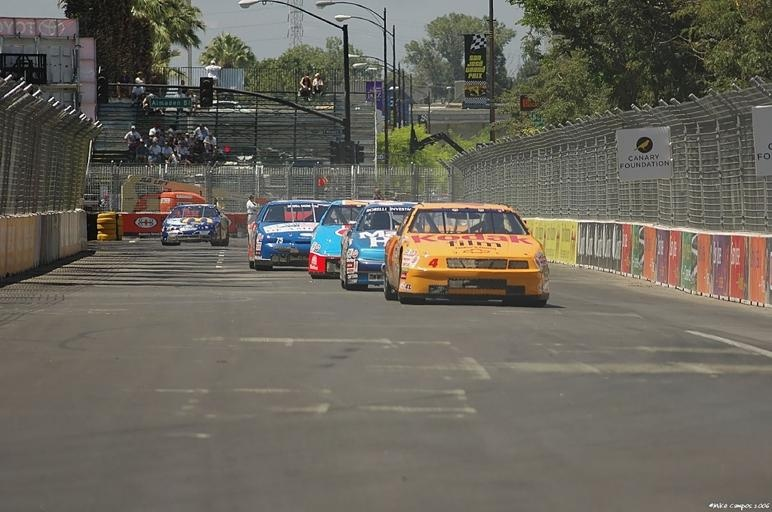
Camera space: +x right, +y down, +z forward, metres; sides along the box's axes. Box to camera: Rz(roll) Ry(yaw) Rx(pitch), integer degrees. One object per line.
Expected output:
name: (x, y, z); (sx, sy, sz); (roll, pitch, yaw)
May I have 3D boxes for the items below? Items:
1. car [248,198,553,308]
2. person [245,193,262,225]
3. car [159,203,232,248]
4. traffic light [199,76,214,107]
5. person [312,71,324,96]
car: (1.428, -0.009, 14.316); (2.843, 1.808, 2.003); (1, 5, 11)
person: (-6.535, -2.420, 39.676); (0.673, 0.882, 2.136); (-8, -35, -9)
car: (-8.638, -1.346, 36.136); (1.909, 1.366, 3.528); (0, 5, -5)
traffic light: (-9.322, -8.534, 41.700); (0.629, 1.450, 1.252); (0, 4, -10)
person: (-5.846, -14.925, 69.451); (1.071, 1.913, 0.506); (0, 5, 4)
